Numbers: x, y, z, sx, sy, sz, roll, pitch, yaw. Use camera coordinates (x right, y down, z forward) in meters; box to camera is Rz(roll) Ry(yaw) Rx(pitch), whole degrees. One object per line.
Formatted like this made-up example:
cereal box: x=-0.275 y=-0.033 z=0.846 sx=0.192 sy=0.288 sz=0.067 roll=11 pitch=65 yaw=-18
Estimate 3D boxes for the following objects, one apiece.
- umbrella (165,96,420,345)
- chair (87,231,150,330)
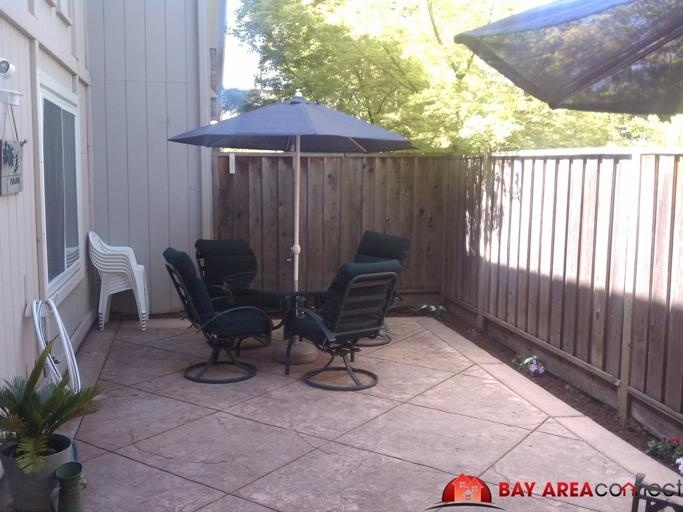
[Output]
umbrella: x=-0.575 y=-0.461 z=5.910 sx=2.410 sy=2.154 sz=2.437 roll=1 pitch=2 yaw=-7
chair: x=-2.809 y=0.296 z=6.690 sx=0.665 sy=1.224 sz=0.709 roll=-3 pitch=9 yaw=-21
